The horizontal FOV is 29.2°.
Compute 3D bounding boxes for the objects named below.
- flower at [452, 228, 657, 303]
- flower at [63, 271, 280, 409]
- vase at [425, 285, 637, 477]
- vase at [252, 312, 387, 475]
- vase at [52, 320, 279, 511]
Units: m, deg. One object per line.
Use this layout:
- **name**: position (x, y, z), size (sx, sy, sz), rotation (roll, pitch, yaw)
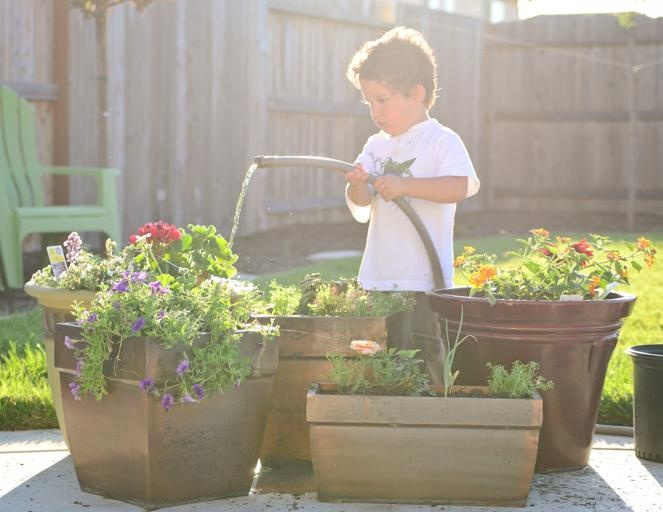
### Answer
- **flower**: position (1.026, 0.060, 5.586), size (0.910, 0.354, 0.632), rotation (-1, 3, -11)
- **flower**: position (-0.672, 0.305, 5.112), size (0.575, 0.526, 0.732), rotation (0, 3, -5)
- **vase**: position (0.843, 0.517, 5.491), size (0.756, 0.609, 0.774), rotation (-2, -3, 39)
- **vase**: position (0.011, 0.558, 5.779), size (0.568, 0.811, 0.718), rotation (1, 1, 10)
- **vase**: position (-0.642, 0.641, 5.339), size (0.826, 0.663, 0.708), rotation (0, -3, 32)
